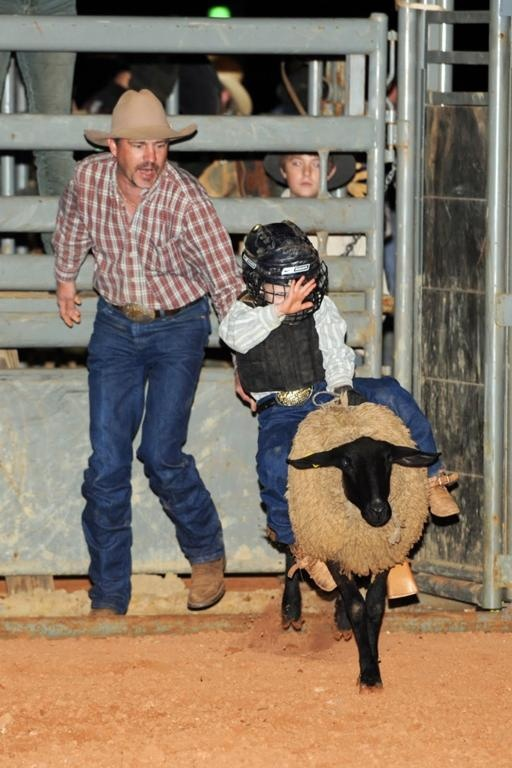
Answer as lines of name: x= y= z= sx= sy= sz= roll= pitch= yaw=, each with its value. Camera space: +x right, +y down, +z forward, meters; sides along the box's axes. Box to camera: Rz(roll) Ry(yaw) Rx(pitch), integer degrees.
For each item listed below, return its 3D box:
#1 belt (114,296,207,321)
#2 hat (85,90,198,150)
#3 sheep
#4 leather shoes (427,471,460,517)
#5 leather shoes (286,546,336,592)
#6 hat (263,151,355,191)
belt: x=-0.364 y=-0.279 z=4.138 sx=0.328 sy=0.080 sz=0.103 roll=0 pitch=13 yaw=-7
hat: x=-0.411 y=-0.983 z=4.017 sx=0.492 sy=0.193 sz=0.504 roll=-6 pitch=8 yaw=1
sheep: x=0.322 y=0.526 z=3.691 sx=0.494 sy=0.862 sz=0.452 roll=7 pitch=15 yaw=23
leather shoes: x=0.694 y=0.408 z=4.092 sx=0.096 sy=0.108 sz=0.280 roll=0 pitch=9 yaw=-9
leather shoes: x=0.199 y=0.651 z=3.842 sx=0.198 sy=0.173 sz=0.060 roll=11 pitch=20 yaw=30
hat: x=0.301 y=-1.001 z=4.957 sx=0.328 sy=0.072 sz=0.295 roll=3 pitch=-29 yaw=-5
